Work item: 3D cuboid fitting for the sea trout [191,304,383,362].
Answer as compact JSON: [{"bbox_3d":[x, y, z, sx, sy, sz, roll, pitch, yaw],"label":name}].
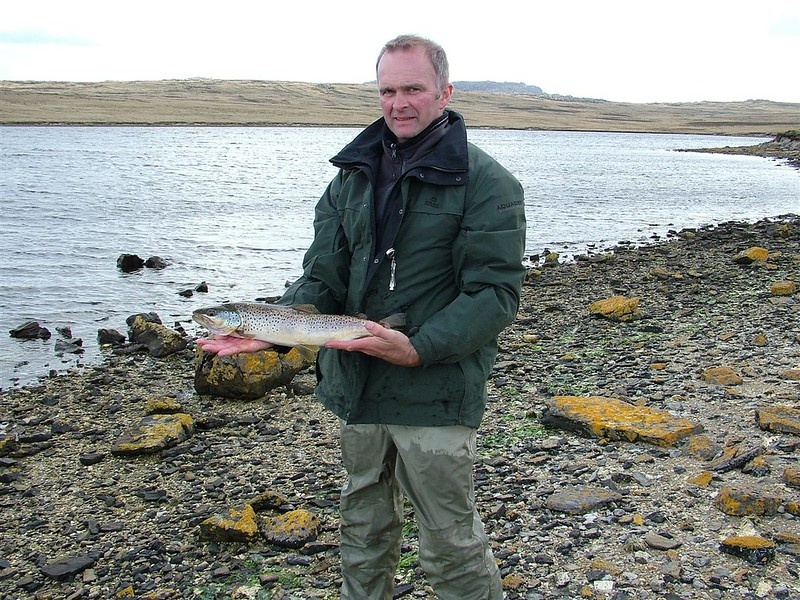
[{"bbox_3d":[-0.832,0.225,5.059,1.568,0.379,0.229,5,-5,-34],"label":"sea trout"}]
